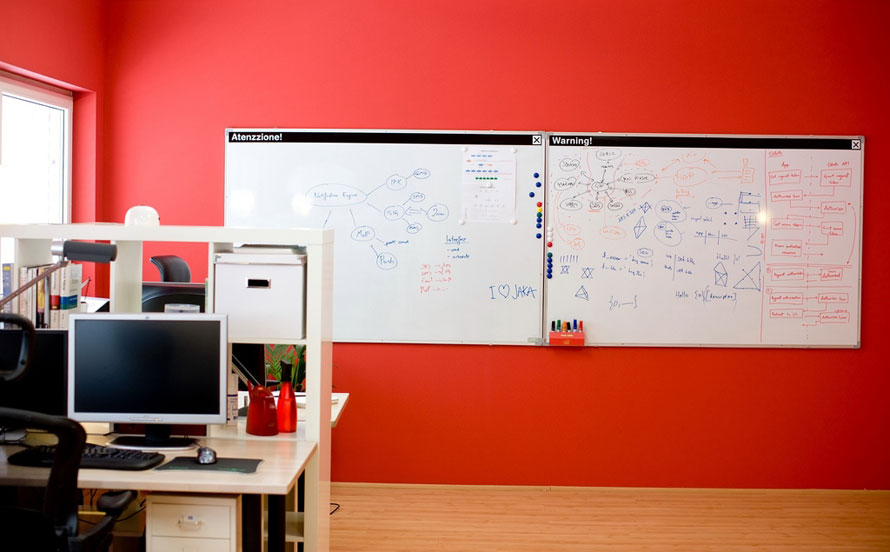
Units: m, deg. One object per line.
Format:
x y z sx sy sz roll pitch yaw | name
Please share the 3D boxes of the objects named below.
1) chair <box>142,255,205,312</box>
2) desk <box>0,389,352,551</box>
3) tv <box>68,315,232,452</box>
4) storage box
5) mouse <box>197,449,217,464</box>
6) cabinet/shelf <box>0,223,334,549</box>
-1.915 0.070 5.361 0.471 0.467 0.488 1 4 0 | chair
-1.223 1.156 4.857 1.331 0.789 1.319 1 -3 0 | desk
-1.799 0.621 4.523 0.833 0.683 0.264 0 -3 -2 | tv
-1.056 0.113 4.842 0.740 0.708 0.536 0 -1 2 | storage box
-1.400 1.045 4.386 0.079 0.033 0.103 1 19 -20 | mouse
-1.694 0.705 4.532 2.203 2.020 0.663 1 2 7 | cabinet/shelf
